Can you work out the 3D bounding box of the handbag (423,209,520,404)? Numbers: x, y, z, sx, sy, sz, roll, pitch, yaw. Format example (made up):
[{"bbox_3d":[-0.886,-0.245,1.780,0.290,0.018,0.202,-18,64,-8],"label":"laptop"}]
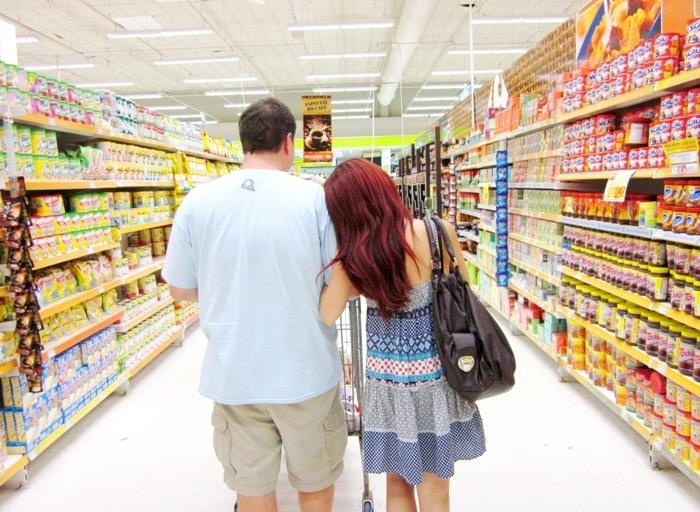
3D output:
[{"bbox_3d":[0.562,0.252,2.304,0.437,0.844,0.139,1,5,-3],"label":"handbag"}]
